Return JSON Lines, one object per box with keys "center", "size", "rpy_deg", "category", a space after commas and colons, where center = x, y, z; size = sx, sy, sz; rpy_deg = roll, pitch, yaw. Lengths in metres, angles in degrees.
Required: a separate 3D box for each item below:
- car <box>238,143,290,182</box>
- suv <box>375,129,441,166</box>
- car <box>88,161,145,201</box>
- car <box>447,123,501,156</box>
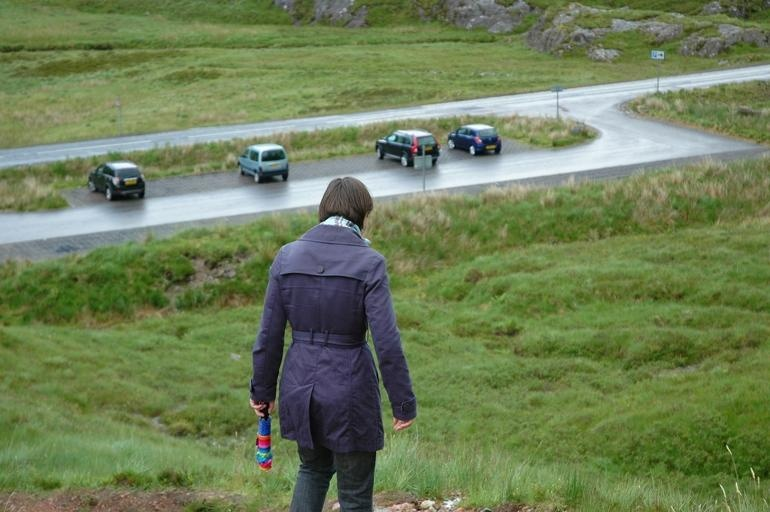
{"center": [-8.384, -6.405, 77.246], "size": [3.584, 2.551, 1.554], "rpy_deg": [13, 17, 38], "category": "car"}
{"center": [1.595, -7.705, 79.881], "size": [4.812, 2.459, 1.633], "rpy_deg": [16, 19, 43], "category": "suv"}
{"center": [-17.804, -5.022, 74.790], "size": [3.909, 2.395, 1.518], "rpy_deg": [10, 16, 30], "category": "car"}
{"center": [6.394, -8.458, 81.915], "size": [1.365, 2.122, 4.011], "rpy_deg": [-11, 20, -43], "category": "car"}
